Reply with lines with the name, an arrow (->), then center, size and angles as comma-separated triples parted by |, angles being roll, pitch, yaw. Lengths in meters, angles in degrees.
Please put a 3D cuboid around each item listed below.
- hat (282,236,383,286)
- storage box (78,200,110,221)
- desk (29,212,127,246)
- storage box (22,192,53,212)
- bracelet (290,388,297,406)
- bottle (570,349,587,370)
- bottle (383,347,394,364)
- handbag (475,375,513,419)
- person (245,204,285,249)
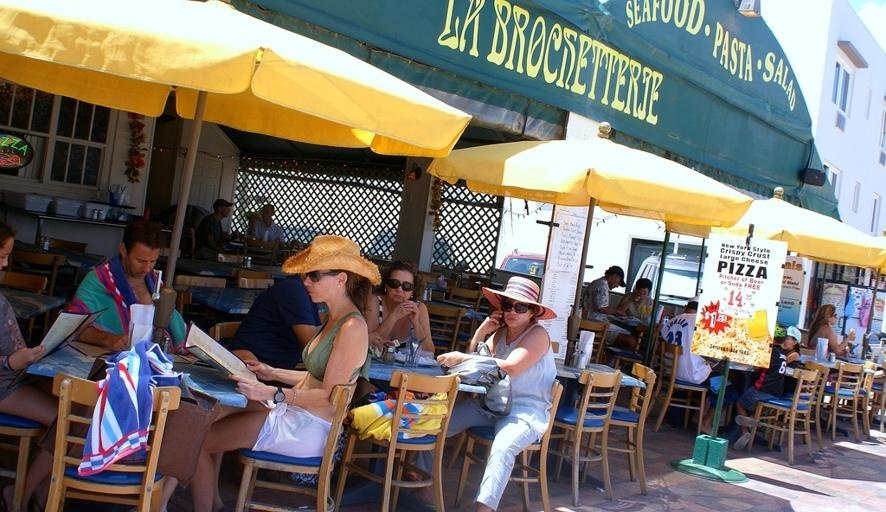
hat -> -0.861, 0.006, 4.935 | 0.568, 0.226, 0.430 | 5, 2, -11
storage box -> -5.485, -0.715, 9.997 | 0.475, 0.259, 0.298 | -1, 7, -34
desk -> -5.832, -0.251, 10.081 | 1.091, 0.522, 0.478 | 13, 10, -25
storage box -> -6.219, -0.809, 9.653 | 0.329, 0.199, 0.321 | 0, 6, -37
bracelet -> -1.137, 1.065, 4.793 | 0.046, 0.095, 0.073 | 4, 2, 9
bottle -> 1.443, 1.083, 6.635 | 0.194, 0.194, 0.114 | 0, -4, 8
bottle -> -0.487, 0.895, 5.703 | 0.142, 0.142, 0.092 | 0, 2, -1
handbag -> 0.466, 1.254, 5.666 | 0.327, 0.352, 0.194 | 13, 29, -19
person -> -3.866, -0.494, 13.898 | 0.818, 1.200, 0.814 | 2, 0, -23
